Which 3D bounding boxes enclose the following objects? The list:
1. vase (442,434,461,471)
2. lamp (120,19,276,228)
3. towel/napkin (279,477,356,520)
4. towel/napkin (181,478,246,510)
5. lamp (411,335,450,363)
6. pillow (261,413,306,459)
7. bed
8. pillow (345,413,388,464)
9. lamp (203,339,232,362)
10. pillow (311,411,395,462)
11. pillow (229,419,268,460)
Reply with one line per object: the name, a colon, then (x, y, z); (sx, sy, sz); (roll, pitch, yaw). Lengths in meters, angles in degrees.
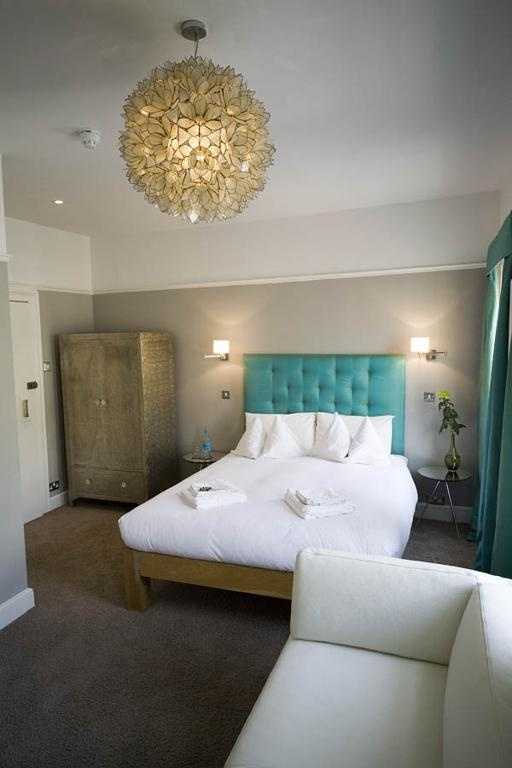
vase: (1.566, 0.538, 4.334); (0.118, 0.300, 0.274); (0, 4, 21)
lamp: (-0.223, -0.950, 2.107); (0.601, 0.533, 0.494); (-3, 4, -14)
towel/napkin: (0.345, 0.658, 3.069); (0.334, 0.094, 0.362); (-3, 4, -17)
towel/napkin: (-0.270, 0.664, 3.296); (0.329, 0.073, 0.402); (-4, 5, -25)
lamp: (1.389, -0.303, 4.407); (0.289, 0.241, 0.160); (1, 0, 4)
pillow: (0.206, 0.467, 4.613); (0.277, 0.309, 0.080); (-2, -11, -3)
bed: (0.250, 0.523, 3.788); (1.385, 1.362, 2.035); (2, 4, 24)
pillow: (0.858, 0.440, 4.219); (0.251, 0.093, 0.314); (-1, 46, 13)
lamp: (-0.375, -0.320, 5.209); (0.185, 0.268, 0.192); (0, 0, 9)
pillow: (0.780, 0.432, 4.364); (0.438, 0.174, 0.425); (0, 17, 16)
pillow: (-0.061, 0.448, 4.647); (0.087, 0.316, 0.272); (29, -17, -34)
